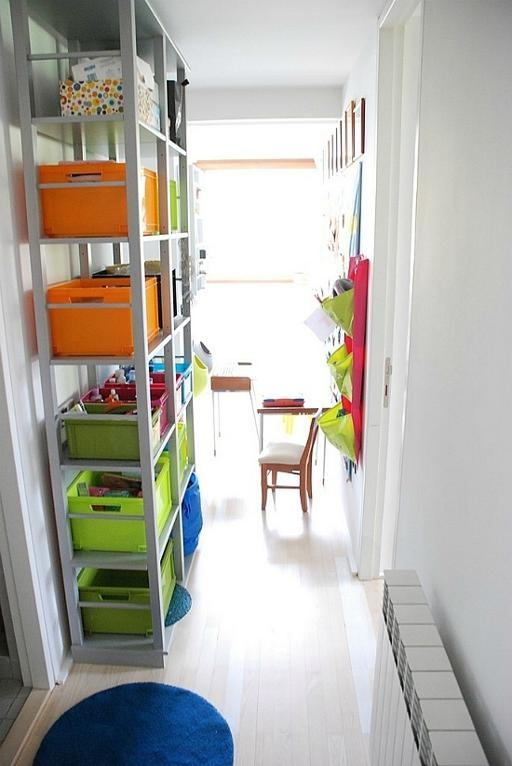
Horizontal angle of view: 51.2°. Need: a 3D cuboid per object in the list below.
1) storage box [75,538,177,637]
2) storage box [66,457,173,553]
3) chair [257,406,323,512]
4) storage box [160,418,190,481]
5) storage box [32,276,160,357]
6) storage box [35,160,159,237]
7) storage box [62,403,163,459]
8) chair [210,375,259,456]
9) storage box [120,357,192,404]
[{"bbox_3d":[-0.660,0.827,2.148,0.329,0.206,0.294,0,11,3],"label":"storage box"},{"bbox_3d":[-0.643,0.470,1.964,0.260,0.232,0.319,-1,19,-6],"label":"storage box"},{"bbox_3d":[0.300,0.436,3.637,0.449,1.016,0.513,3,7,4],"label":"chair"},{"bbox_3d":[-0.437,0.299,2.613,0.117,0.239,0.206,-1,13,6],"label":"storage box"},{"bbox_3d":[-0.607,-0.229,1.822,0.395,0.255,0.408,-1,10,-9],"label":"storage box"},{"bbox_3d":[-0.605,-0.606,1.802,0.354,0.260,0.469,1,10,2],"label":"storage box"},{"bbox_3d":[-0.626,0.155,1.874,0.190,0.171,0.234,0,11,-3],"label":"storage box"},{"bbox_3d":[-0.191,0.273,4.408,0.418,0.831,0.741,-1,15,-2],"label":"chair"},{"bbox_3d":[-0.507,-0.033,2.564,0.234,0.207,0.291,0,17,3],"label":"storage box"}]
